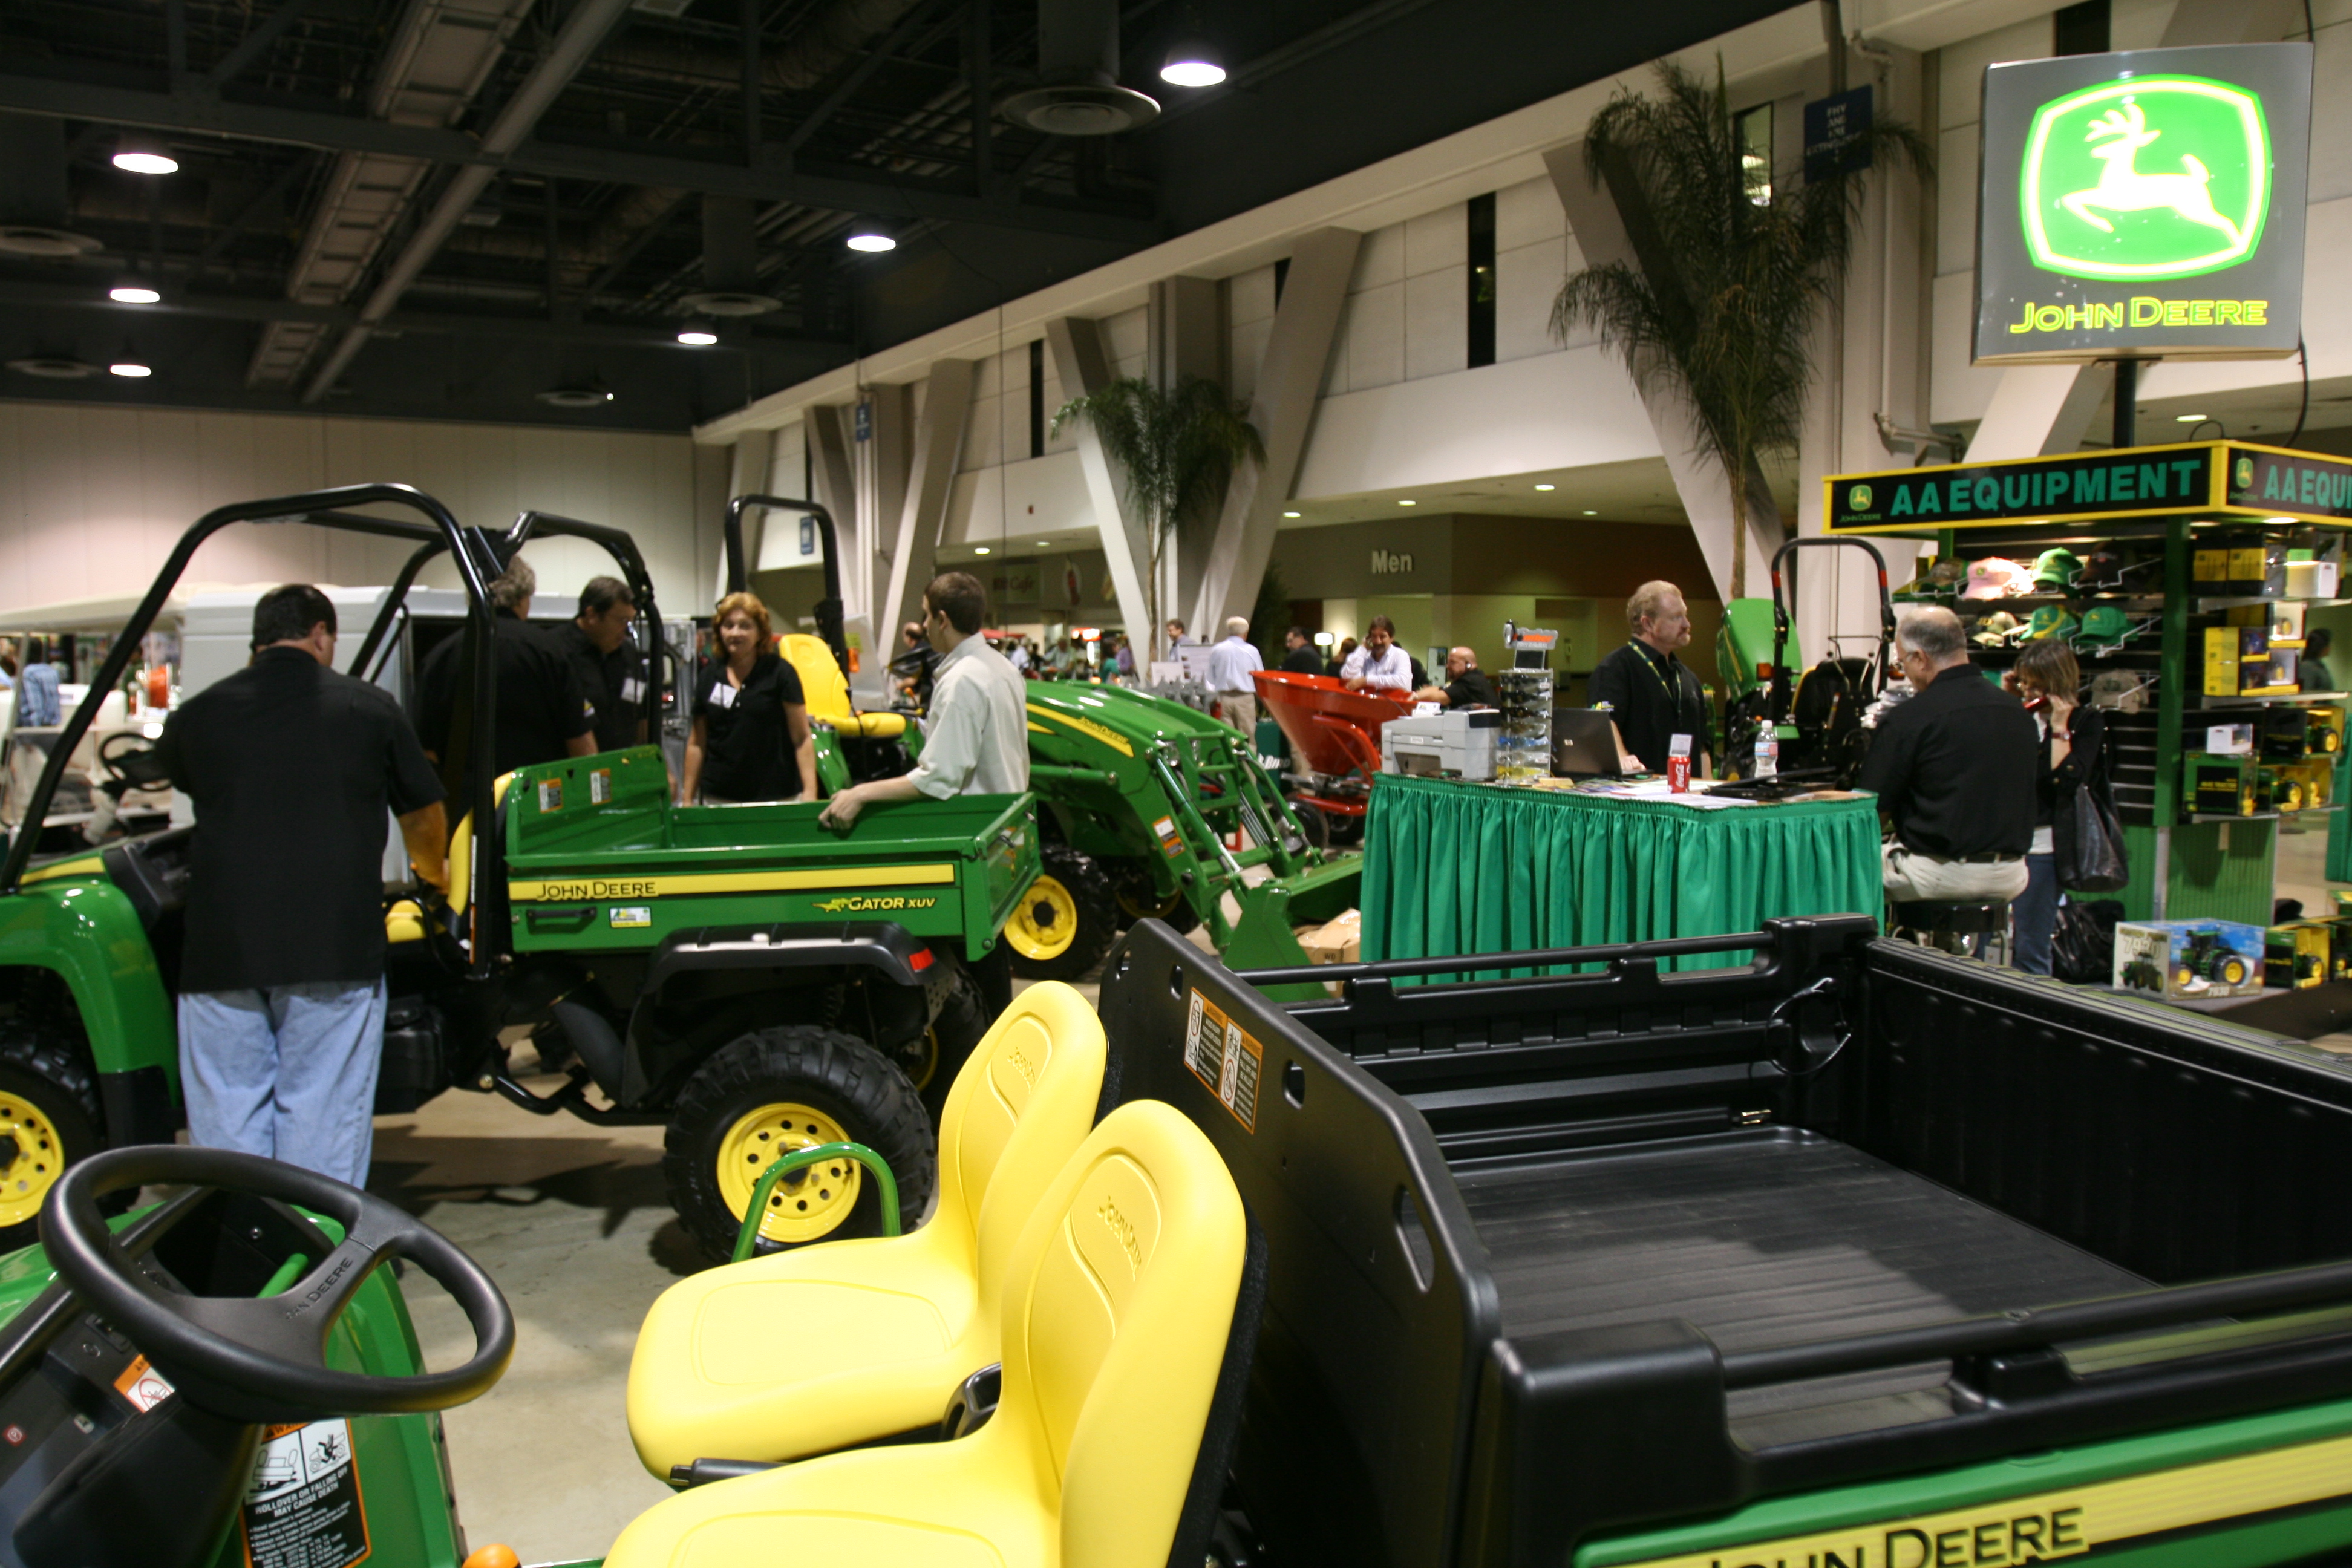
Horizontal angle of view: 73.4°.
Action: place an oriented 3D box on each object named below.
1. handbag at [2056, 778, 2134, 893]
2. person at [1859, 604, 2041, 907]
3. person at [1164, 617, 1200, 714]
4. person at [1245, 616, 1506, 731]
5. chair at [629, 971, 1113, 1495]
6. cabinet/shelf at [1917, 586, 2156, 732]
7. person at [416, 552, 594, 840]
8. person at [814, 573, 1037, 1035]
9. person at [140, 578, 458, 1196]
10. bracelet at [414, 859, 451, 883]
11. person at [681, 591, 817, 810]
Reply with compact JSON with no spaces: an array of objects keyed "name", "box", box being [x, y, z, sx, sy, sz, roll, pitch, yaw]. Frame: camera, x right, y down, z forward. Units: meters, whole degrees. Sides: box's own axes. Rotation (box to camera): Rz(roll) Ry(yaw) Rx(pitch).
[{"name":"handbag","box":[4.128,0.244,7.116,0.256,0.692,0.506,-4,-6,41]},{"name":"person","box":[2.726,-0.094,5.548,0.537,1.069,0.408,1,4,29]},{"name":"person","box":[0.044,-0.969,12.870,0.363,0.378,1.137,18,11,-3]},{"name":"person","box":[1.196,-0.751,11.671,1.702,0.756,1.127,0,2,43]},{"name":"chair","box":[-0.585,0.821,3.113,1.124,0.922,0.792,1,5,-16]},{"name":"cabinet/shelf","box":[4.000,-0.575,7.225,0.259,0.775,0.785,-3,8,-31]},{"name":"person","box":[-2.501,-0.314,5.923,0.620,1.008,0.526,-1,-1,-22]},{"name":"person","box":[-0.836,-0.211,5.465,0.552,1.019,0.779,2,16,-1]},{"name":"person","box":[-2.365,0.268,4.276,0.638,1.605,0.305,-2,4,-31]},{"name":"bracelet","box":[-2.235,0.258,4.738,0.095,0.098,0.037,-10,15,-18]},{"name":"person","box":[-1.716,-0.345,6.383,0.438,0.837,0.840,-2,4,-26]}]
